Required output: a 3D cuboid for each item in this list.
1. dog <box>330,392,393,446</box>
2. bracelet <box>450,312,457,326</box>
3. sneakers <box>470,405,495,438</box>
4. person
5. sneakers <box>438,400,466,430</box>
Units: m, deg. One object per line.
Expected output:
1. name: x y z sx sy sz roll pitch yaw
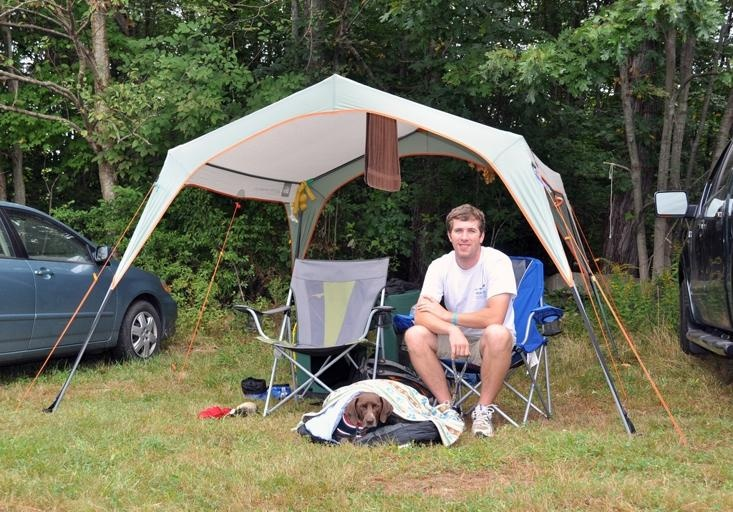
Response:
1. dog: 0.040 1.426 7.598 0.588 0.425 0.824 -8 -1 7
2. bracelet: 0.812 0.591 7.752 0.060 0.086 0.082 9 -26 -21
3. sneakers: 1.034 1.482 7.460 0.196 0.250 0.278 1 10 9
4. person: 0.880 0.568 7.740 0.963 2.015 0.848 1 10 11
5. sneakers: 0.760 1.455 7.635 0.234 0.222 0.634 0 10 4
